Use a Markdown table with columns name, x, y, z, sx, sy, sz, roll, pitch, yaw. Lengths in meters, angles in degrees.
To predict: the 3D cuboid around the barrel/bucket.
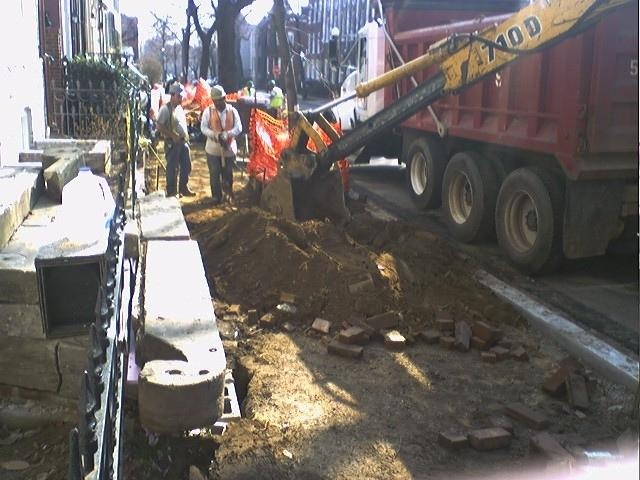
| name | x | y | z | sx | sy | sz | roll | pitch | yaw |
| --- | --- | --- | --- | --- | --- | --- | --- | --- | --- |
| barrel/bucket | -2.099 | -0.341 | 4.743 | 0.488 | 0.566 | 1.055 | -9 | 16 | -25 |

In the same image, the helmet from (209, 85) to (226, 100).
| name | x | y | z | sx | sy | sz | roll | pitch | yaw |
| --- | --- | --- | --- | --- | --- | --- | --- | --- | --- |
| helmet | -2.069 | -2.940 | 10.548 | 0.257 | 0.244 | 0.363 | -6 | 15 | -13 |

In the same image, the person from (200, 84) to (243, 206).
| name | x | y | z | sx | sy | sz | roll | pitch | yaw |
| --- | --- | --- | --- | --- | --- | --- | --- | --- | --- |
| person | -2.011 | -1.942 | 10.704 | 0.764 | 2.265 | 0.836 | -4 | 12 | -11 |
